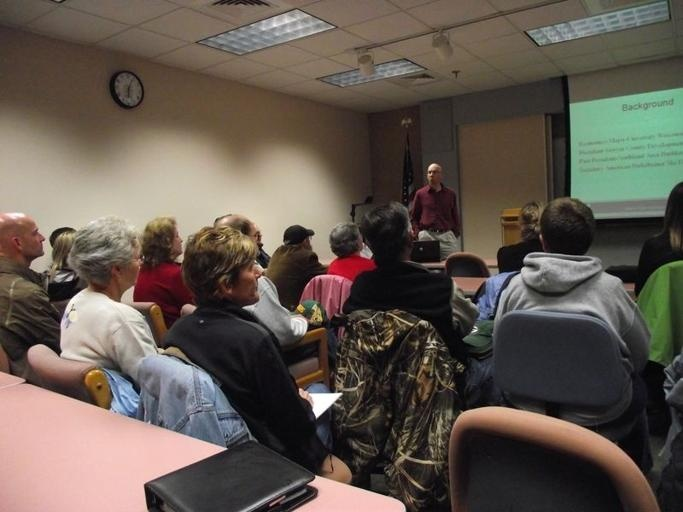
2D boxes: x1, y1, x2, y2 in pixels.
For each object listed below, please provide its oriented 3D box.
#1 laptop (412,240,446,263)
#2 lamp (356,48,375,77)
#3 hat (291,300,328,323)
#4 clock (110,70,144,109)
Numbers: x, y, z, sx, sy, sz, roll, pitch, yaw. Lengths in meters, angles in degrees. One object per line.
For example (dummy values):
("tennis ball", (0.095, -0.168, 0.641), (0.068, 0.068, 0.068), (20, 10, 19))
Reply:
("laptop", (0.843, -0.047, 4.957), (0.319, 0.273, 0.250), (1, 2, 5))
("lamp", (0.223, -2.099, 5.434), (0.175, 0.306, 0.271), (4, 7, 14))
("hat", (-0.169, 0.313, 2.832), (0.151, 0.098, 0.103), (4, 1, 9))
("clock", (-2.252, -1.765, 5.232), (0.321, 0.366, 0.075), (-22, 26, -5))
